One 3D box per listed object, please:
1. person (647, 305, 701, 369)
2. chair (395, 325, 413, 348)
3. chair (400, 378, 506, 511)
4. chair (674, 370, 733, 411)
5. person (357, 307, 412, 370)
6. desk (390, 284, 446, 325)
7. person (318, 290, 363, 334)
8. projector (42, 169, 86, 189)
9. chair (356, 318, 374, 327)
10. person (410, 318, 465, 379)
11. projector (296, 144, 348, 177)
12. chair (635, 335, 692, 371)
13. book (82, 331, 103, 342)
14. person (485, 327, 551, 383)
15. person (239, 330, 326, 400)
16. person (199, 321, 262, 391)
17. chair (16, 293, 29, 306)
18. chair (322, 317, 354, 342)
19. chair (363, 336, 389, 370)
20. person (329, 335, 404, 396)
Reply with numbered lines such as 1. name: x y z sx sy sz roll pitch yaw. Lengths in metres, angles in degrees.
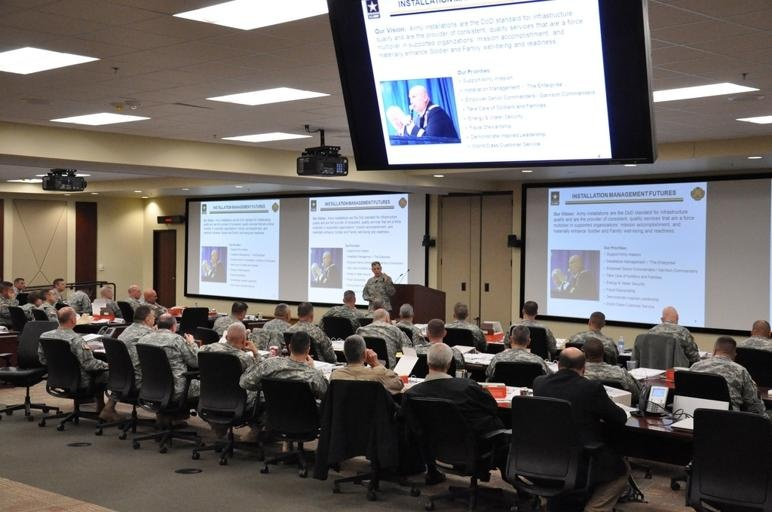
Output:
1. person: 4.225 1.305 9.082 0.767 1.046 0.643 -1 0 42
2. chair: 0.286 1.105 8.620 0.281 0.262 0.205 10 14 28
3. chair: 0.664 1.761 5.712 0.978 1.260 0.419 -1 7 1
4. chair: 3.137 1.281 6.174 0.347 0.516 0.369 4 16 45
5. person: -0.027 1.173 8.413 0.762 0.905 0.527 -1 4 15
6. desk: 0.755 0.996 13.957 0.860 1.031 1.597 1 0 42
7. person: -0.666 0.920 10.703 0.668 0.842 0.671 1 -6 15
8. projector: -7.016 -1.579 13.343 0.666 0.374 0.650 1 -2 -42
9. chair: -0.342 1.119 10.467 0.146 0.156 0.264 -4 -6 45
10. person: 0.637 1.149 7.568 0.857 0.707 0.427 3 12 11
11. projector: -1.040 -1.537 10.251 0.648 0.403 0.640 2 -2 -39
12. chair: 3.986 1.300 8.928 0.698 0.595 0.552 2 2 37
13. book: -4.417 1.236 9.297 0.252 0.065 0.256 3 4 44
14. person: 1.654 1.232 7.624 1.029 0.761 0.512 1 4 12
15. person: -1.138 1.231 6.861 0.857 0.569 0.438 8 15 12
16. person: -1.798 1.051 7.200 1.090 0.518 0.473 0 -8 39
17. chair: -8.064 0.966 13.647 0.316 0.292 0.305 5 -8 -37
18. chair: -0.791 1.189 10.475 0.454 0.516 0.455 3 6 30
19. chair: -0.139 1.260 7.918 0.293 0.381 0.136 -10 8 28
20. person: -0.281 1.162 6.229 0.848 0.636 0.429 1 10 3
